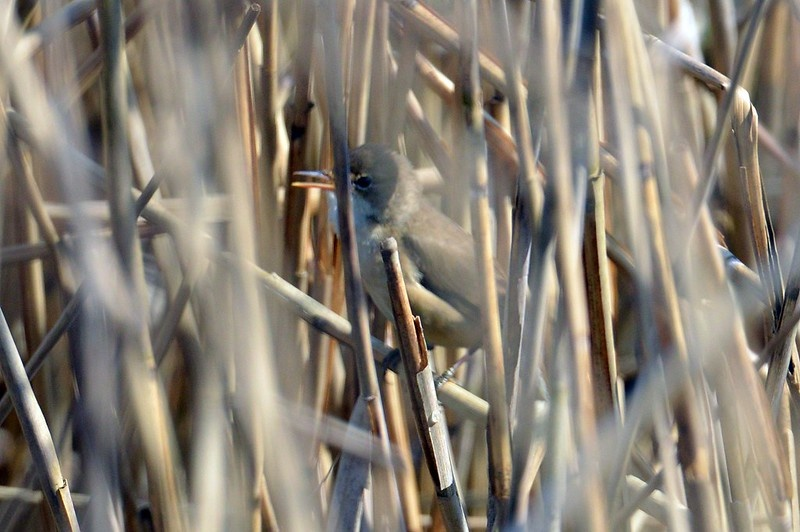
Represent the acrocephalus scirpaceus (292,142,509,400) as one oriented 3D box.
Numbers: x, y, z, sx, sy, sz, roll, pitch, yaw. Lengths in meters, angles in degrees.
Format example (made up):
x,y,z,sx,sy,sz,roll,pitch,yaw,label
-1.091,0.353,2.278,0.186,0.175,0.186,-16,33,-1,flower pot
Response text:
x,y,z,sx,sy,sz,roll,pitch,yaw,label
0.114,0.039,4.422,0.905,0.898,0.446,-2,-10,-24,acrocephalus scirpaceus
